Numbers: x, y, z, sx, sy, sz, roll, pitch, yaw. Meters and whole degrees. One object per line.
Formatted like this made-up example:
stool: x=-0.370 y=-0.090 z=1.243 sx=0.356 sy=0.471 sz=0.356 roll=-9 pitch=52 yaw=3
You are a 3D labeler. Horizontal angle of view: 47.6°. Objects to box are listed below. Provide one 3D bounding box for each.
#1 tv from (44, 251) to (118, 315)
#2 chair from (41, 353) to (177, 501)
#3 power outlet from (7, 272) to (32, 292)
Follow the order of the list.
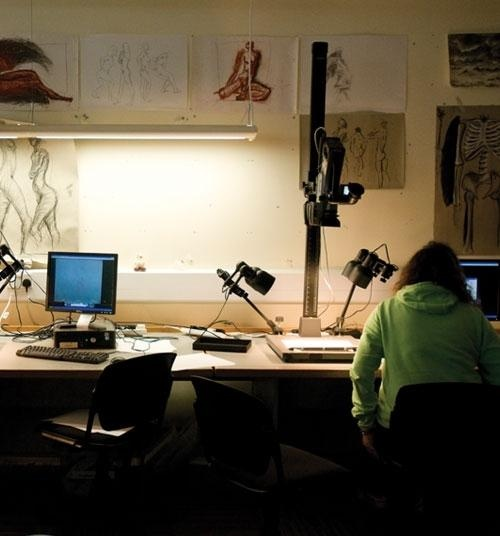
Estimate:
tv: x=-0.900 y=0.084 z=3.018 sx=0.376 sy=0.269 sz=0.037 roll=2 pitch=1 yaw=13
chair: x=-0.627 y=0.663 z=2.507 sx=0.588 sy=0.636 sz=0.335 roll=-1 pitch=8 yaw=-8
power outlet: x=-1.345 y=0.091 z=3.249 sx=0.091 sy=0.122 sz=0.150 roll=-3 pitch=-2 yaw=-33
